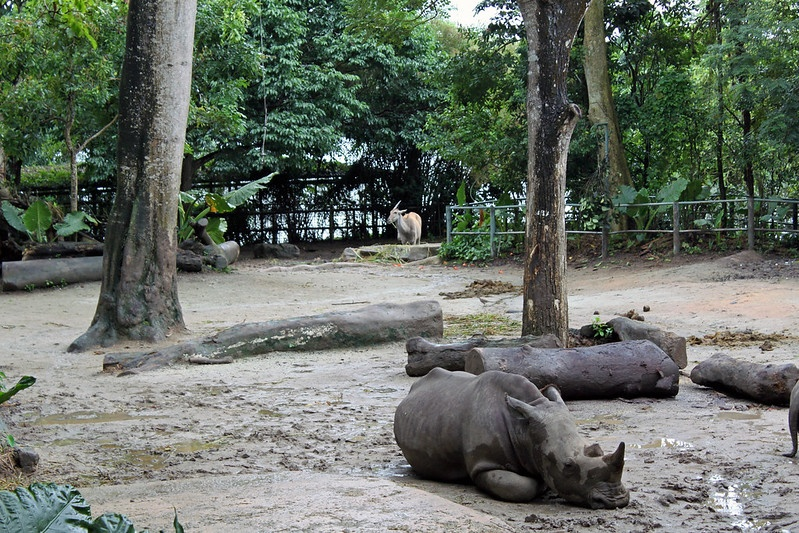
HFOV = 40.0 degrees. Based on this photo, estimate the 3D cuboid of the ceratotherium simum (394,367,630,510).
[{"bbox_3d":[1.455,2.283,14.479,2.957,1.372,1.424,7,17,34],"label":"ceratotherium simum"}]
